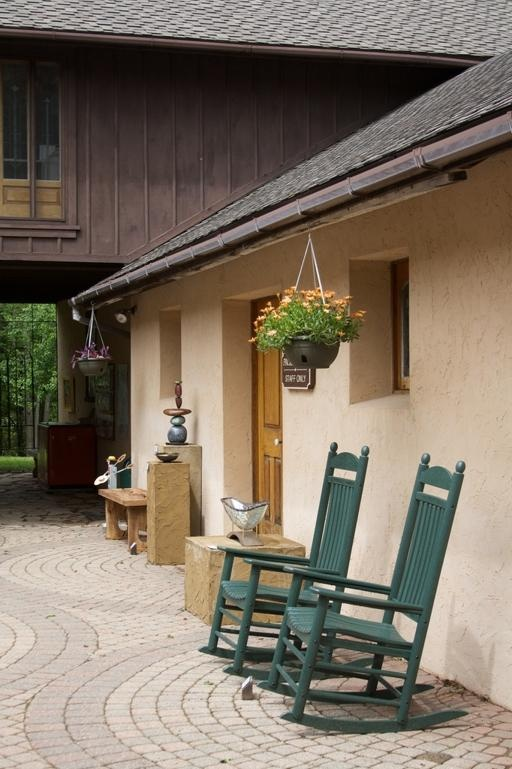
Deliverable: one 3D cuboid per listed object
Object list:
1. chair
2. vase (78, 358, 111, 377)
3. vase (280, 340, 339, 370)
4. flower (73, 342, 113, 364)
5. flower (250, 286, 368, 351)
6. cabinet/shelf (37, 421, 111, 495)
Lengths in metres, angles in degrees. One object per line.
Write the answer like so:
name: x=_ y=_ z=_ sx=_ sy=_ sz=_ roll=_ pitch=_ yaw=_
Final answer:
chair: x=0.345 y=0.891 z=4.089 sx=0.995 sy=1.301 sz=1.435 roll=2 pitch=5 yaw=-8
vase: x=-1.823 y=-0.212 z=9.772 sx=0.296 sy=0.201 sz=0.310 roll=2 pitch=5 yaw=-15
vase: x=0.290 y=-0.166 z=4.665 sx=0.279 sy=0.162 sz=0.302 roll=3 pitch=5 yaw=-3
flower: x=-2.192 y=-0.448 z=11.890 sx=0.659 sy=0.371 sz=0.706 roll=0 pitch=3 yaw=3
flower: x=0.248 y=-0.344 z=4.698 sx=0.533 sy=0.357 sz=0.351 roll=8 pitch=7 yaw=41
cabinet/shelf: x=-3.216 y=1.190 z=15.199 sx=0.981 sy=1.173 sz=1.728 roll=0 pitch=-1 yaw=-15
